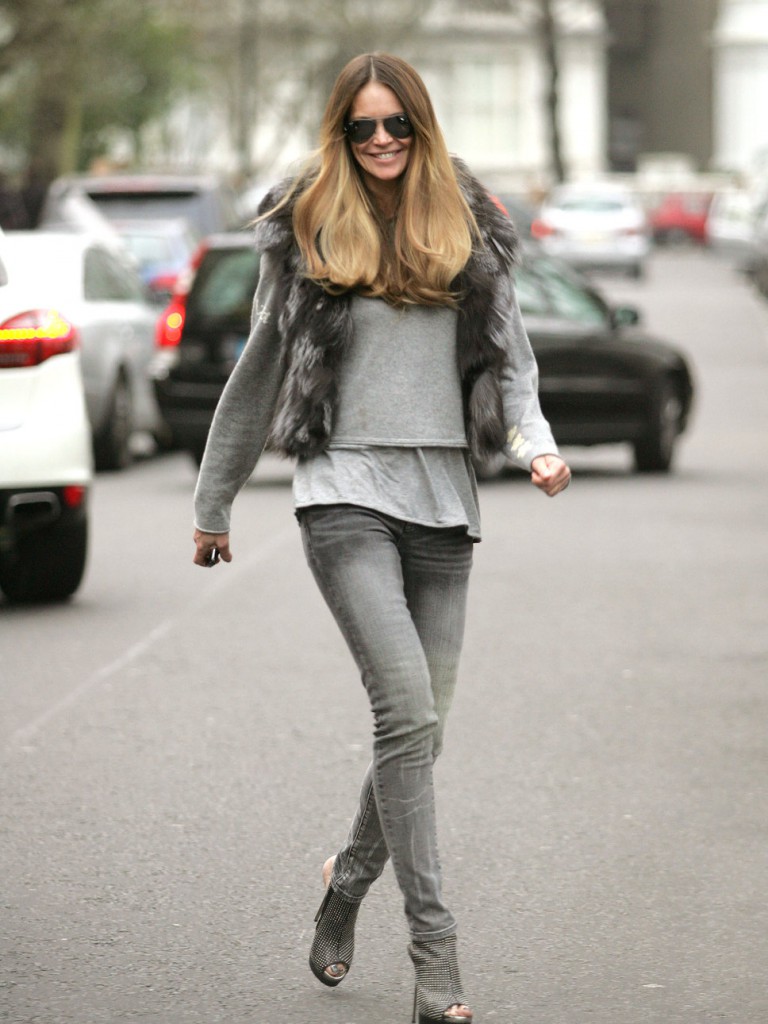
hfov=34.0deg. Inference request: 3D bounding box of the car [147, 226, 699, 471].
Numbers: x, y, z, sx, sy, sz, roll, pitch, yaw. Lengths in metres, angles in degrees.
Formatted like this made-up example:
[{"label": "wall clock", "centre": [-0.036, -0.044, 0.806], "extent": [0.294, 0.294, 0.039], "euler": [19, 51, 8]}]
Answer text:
[{"label": "car", "centre": [0.845, -1.450, 11.835], "extent": [5.105, 1.608, 2.301], "euler": [-4, 5, -38]}]
